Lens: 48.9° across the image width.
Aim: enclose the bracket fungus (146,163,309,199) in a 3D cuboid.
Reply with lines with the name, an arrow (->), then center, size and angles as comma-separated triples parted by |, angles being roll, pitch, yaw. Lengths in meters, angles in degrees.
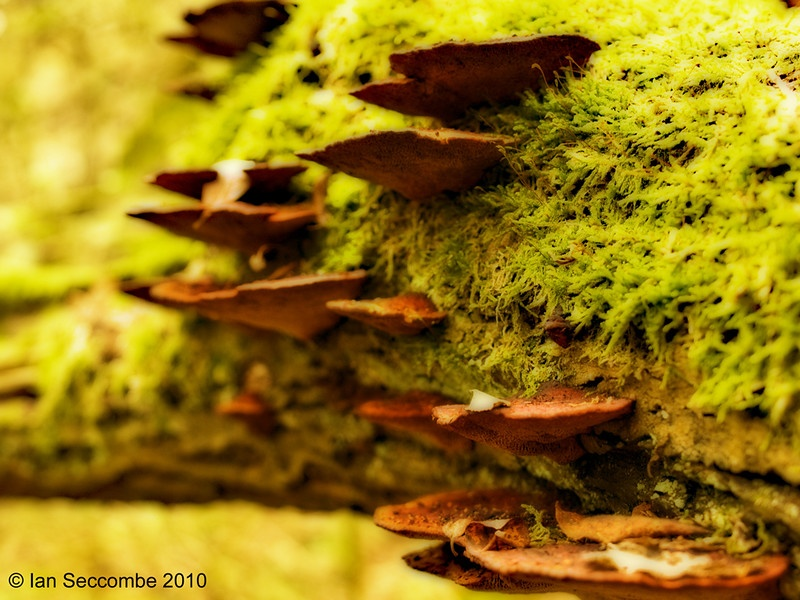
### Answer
bracket fungus -> -0.703, -0.472, 3.448 | 0.302, 0.258, 0.073 | -7, 94, -28
